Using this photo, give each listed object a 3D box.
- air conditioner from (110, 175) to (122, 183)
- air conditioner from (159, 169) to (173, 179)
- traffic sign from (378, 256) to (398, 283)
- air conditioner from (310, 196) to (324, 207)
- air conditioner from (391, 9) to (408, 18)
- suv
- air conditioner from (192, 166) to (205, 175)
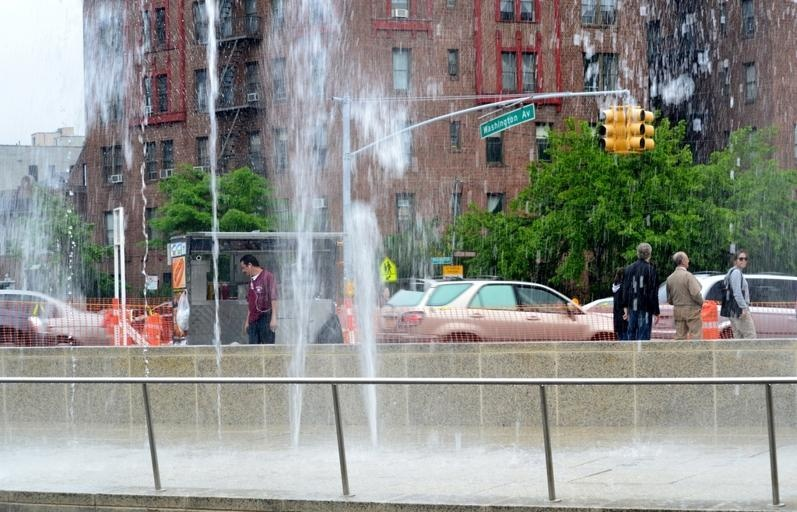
[{"bbox_3d":[-18.336,-5.204,118.116,0.950,0.492,0.667,-1,-1,18],"label":"air conditioner"},{"bbox_3d":[-14.874,-5.517,116.321,0.802,0.612,1.199,-1,-3,-41],"label":"air conditioner"},{"bbox_3d":[-0.591,0.625,97.061,0.172,1.597,1.364,-4,5,-43],"label":"traffic sign"},{"bbox_3d":[-4.854,-3.430,109.890,0.951,0.938,0.519,0,1,20],"label":"air conditioner"},{"bbox_3d":[0.041,-14.969,110.688,1.058,0.539,0.155,-3,-2,-6],"label":"air conditioner"},{"bbox_3d":[3.694,2.337,74.099,7.856,2.693,3.628,-2,-3,-7],"label":"suv"},{"bbox_3d":[-12.244,-5.570,112.058,0.712,0.448,0.726,4,-5,-38],"label":"air conditioner"}]
